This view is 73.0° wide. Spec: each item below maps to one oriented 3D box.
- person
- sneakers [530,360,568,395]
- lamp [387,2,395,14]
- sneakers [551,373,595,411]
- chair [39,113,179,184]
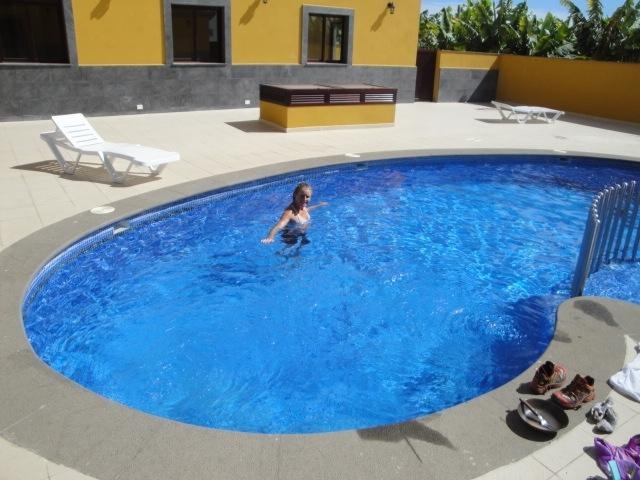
[{"bbox_3d":[-0.366,-0.552,6.773,0.566,0.882,1.358,13,27,16],"label":"person"},{"bbox_3d":[1.818,1.088,3.466,0.337,0.170,0.161,-21,27,-33],"label":"sneakers"},{"bbox_3d":[2.860,-9.226,17.182,0.205,0.407,0.468,25,32,35],"label":"lamp"},{"bbox_3d":[1.971,1.161,3.397,0.416,0.199,0.167,-9,21,-28],"label":"sneakers"},{"bbox_3d":[-3.858,-1.615,7.859,2.734,1.028,0.999,18,29,22],"label":"chair"}]
